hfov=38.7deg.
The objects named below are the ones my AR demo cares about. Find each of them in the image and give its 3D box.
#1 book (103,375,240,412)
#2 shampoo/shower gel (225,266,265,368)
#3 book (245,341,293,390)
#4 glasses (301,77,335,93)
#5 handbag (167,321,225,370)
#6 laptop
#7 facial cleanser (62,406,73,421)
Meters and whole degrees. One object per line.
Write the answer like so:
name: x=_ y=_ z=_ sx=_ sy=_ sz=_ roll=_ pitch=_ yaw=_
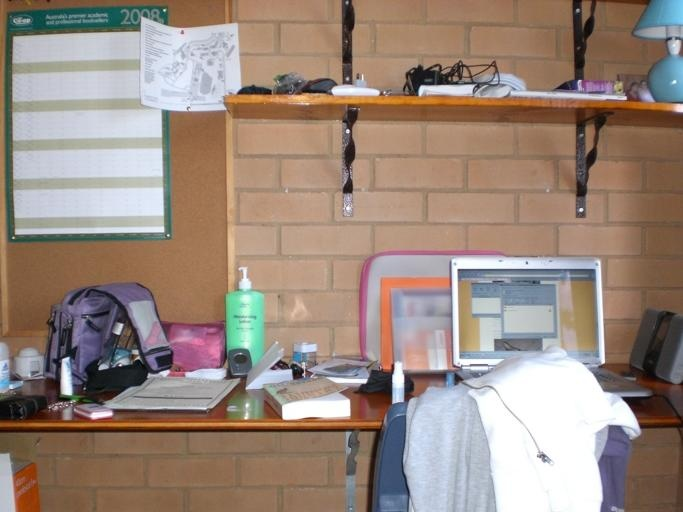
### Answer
book: x=-0.533 y=0.436 z=3.079 sx=0.400 sy=0.077 sz=0.234 roll=-1 pitch=3 yaw=-3
shampoo/shower gel: x=-0.334 y=0.207 z=3.351 sx=0.128 sy=0.325 sz=0.103 roll=-1 pitch=2 yaw=-10
book: x=-0.239 y=0.365 z=3.182 sx=0.139 sy=0.087 sz=0.139 roll=1 pitch=-2 yaw=-2
glasses: x=-0.079 y=-0.575 z=3.291 sx=0.082 sy=0.041 sz=0.116 roll=1 pitch=5 yaw=0
handbag: x=-0.500 y=0.294 z=3.293 sx=0.161 sy=0.163 sz=0.057 roll=-4 pitch=-16 yaw=-8
laptop: x=0.619 y=0.179 z=3.251 sx=0.561 sy=0.420 sz=0.454 roll=0 pitch=-1 yaw=-1
facial cleanser: x=-0.838 y=0.484 z=2.976 sx=0.030 sy=0.050 sz=0.031 roll=2 pitch=-8 yaw=-12
